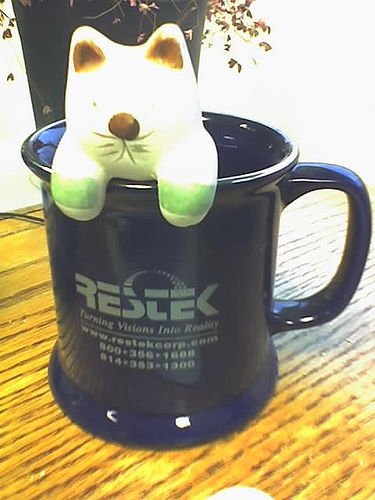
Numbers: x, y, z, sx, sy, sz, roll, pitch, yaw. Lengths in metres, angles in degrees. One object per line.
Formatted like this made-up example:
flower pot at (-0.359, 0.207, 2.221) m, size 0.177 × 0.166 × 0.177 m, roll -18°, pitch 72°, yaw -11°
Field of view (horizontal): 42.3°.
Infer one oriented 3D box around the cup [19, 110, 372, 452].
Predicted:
cup at (0.036, 0.020, 0.495) m, size 0.322 × 0.262 × 0.268 m, roll -6°, pitch 32°, yaw -8°
